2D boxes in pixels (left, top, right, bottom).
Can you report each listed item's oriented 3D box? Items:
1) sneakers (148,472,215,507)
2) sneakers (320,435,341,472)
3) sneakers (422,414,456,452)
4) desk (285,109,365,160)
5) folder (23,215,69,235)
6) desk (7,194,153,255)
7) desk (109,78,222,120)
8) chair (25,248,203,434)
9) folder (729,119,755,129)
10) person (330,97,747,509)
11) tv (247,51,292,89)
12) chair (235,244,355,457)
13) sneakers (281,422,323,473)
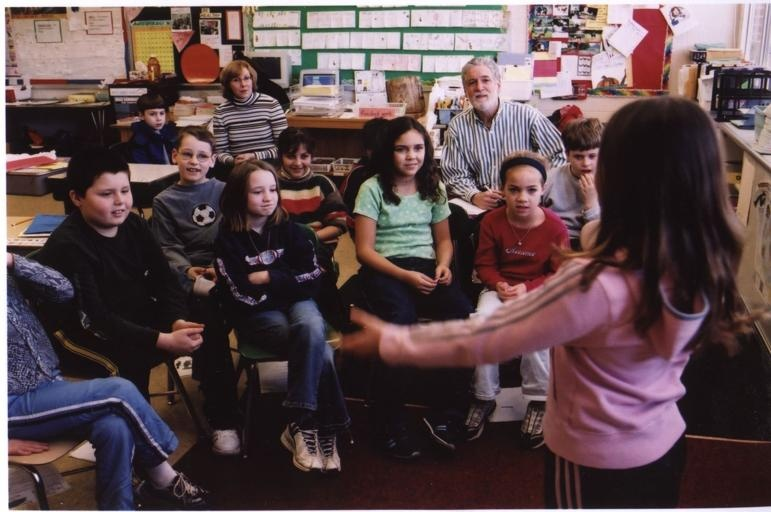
[{"bbox_3d":[-0.801,0.925,2.340,0.290,0.123,0.101,5,23,-14],"label":"sneakers"},{"bbox_3d":[-0.247,0.846,2.541,0.077,0.086,0.218,-7,25,-6],"label":"sneakers"},{"bbox_3d":[0.245,0.811,2.650,0.109,0.048,0.132,-6,46,-48],"label":"sneakers"},{"bbox_3d":[-0.476,-1.012,4.710,0.839,0.504,0.422,1,13,4],"label":"desk"},{"bbox_3d":[-1.640,-0.149,2.808,0.161,0.041,0.145,1,27,-3],"label":"folder"},{"bbox_3d":[-1.380,-0.140,2.635,0.397,0.345,0.253,1,16,-2],"label":"desk"},{"bbox_3d":[-2.124,-1.596,5.873,1.230,0.410,0.357,5,12,16],"label":"desk"},{"bbox_3d":[-1.095,0.413,2.405,0.555,0.901,0.422,-10,16,-31],"label":"chair"},{"bbox_3d":[2.299,-0.849,3.761,0.129,0.040,0.094,8,15,-2],"label":"folder"},{"bbox_3d":[0.494,0.171,1.458,0.811,1.101,0.198,-2,14,1],"label":"person"},{"bbox_3d":[-1.132,-1.805,5.566,0.338,0.239,0.166,4,24,-13],"label":"tv"},{"bbox_3d":[-0.565,0.416,2.824,0.651,0.897,0.625,-4,14,-23],"label":"chair"},{"bbox_3d":[-0.350,0.820,2.531,0.127,0.118,0.290,14,11,-32],"label":"sneakers"}]
